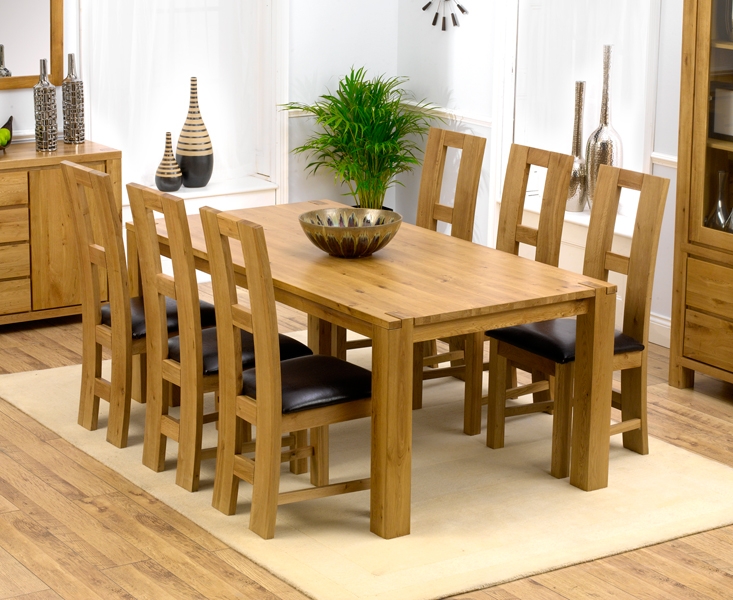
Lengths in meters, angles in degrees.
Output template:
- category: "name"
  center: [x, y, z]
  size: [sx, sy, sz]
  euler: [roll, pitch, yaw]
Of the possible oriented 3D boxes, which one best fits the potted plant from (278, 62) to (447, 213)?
- category: "potted plant"
  center: [-0.124, -1.223, 5.679]
  size: [1.271, 1.104, 1.169]
  euler: [-2, 11, -9]
